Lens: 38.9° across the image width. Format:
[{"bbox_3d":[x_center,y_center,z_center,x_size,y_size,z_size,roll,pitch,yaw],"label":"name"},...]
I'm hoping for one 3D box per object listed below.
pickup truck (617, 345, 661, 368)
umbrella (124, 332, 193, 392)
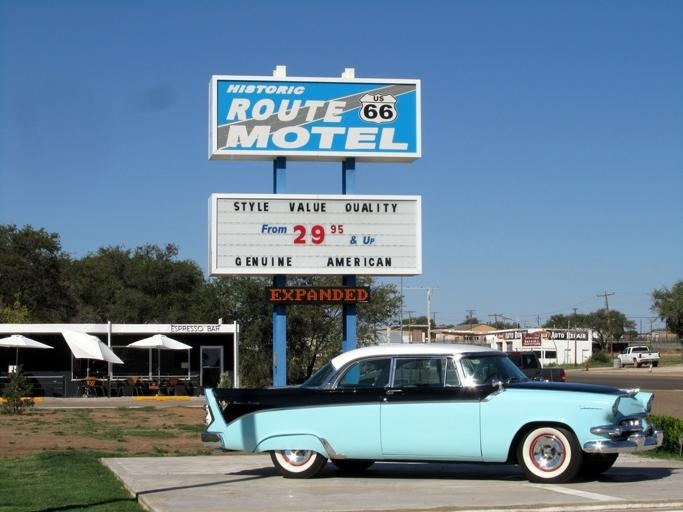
[{"bbox_3d":[24.510,8.124,77.904,1.716,1.521,3.718,0,-3,-7],"label":"pickup truck"},{"bbox_3d":[-7.572,4.340,40.261,2.492,2.204,2.475,3,-6,-13],"label":"umbrella"}]
